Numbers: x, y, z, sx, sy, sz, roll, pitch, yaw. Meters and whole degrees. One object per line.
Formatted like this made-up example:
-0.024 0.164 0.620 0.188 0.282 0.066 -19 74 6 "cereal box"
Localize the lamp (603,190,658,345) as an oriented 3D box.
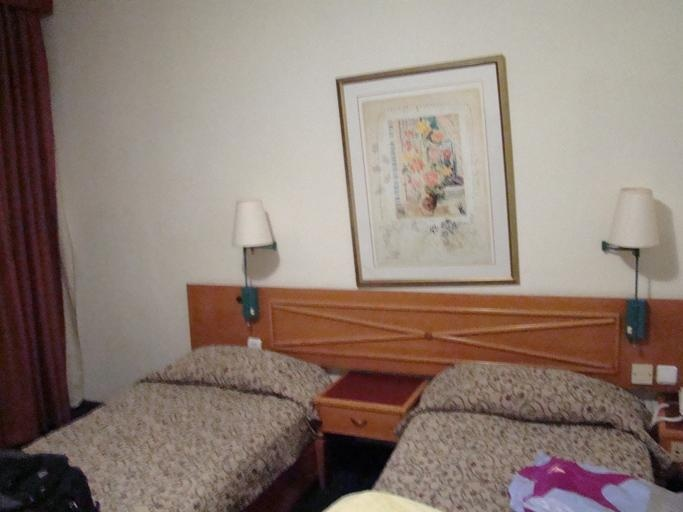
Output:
1.546 0.067 2.844 0.282 0.846 0.263 -1 9 25 "lamp"
